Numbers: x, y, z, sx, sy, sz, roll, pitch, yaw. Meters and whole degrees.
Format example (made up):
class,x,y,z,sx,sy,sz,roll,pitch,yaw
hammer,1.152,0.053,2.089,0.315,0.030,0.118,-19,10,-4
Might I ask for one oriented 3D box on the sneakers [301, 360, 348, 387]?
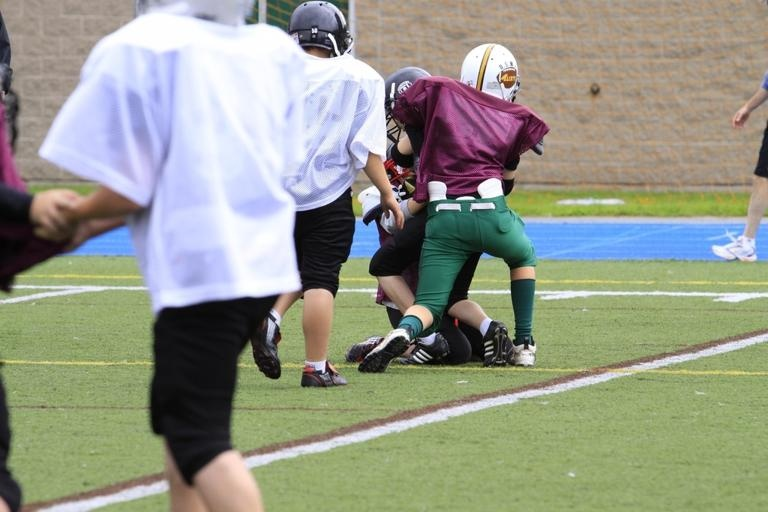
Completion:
class,x,y,z,sx,sy,sz,roll,pitch,yaw
sneakers,-0.299,0.659,6.304,0.316,0.105,0.104,0,0,-27

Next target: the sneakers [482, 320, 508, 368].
class,x,y,z,sx,sy,sz,roll,pitch,yaw
sneakers,0.631,0.515,6.748,0.129,0.272,0.135,0,21,3

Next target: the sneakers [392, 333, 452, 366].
class,x,y,z,sx,sy,sz,roll,pitch,yaw
sneakers,0.188,0.563,6.886,0.360,0.143,0.116,-12,-26,11

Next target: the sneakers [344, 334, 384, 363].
class,x,y,z,sx,sy,sz,roll,pitch,yaw
sneakers,-0.147,0.556,6.888,0.316,0.099,0.129,-24,8,4

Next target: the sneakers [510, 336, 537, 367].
class,x,y,z,sx,sy,sz,roll,pitch,yaw
sneakers,0.796,0.560,6.708,0.191,0.196,0.497,0,-4,4
